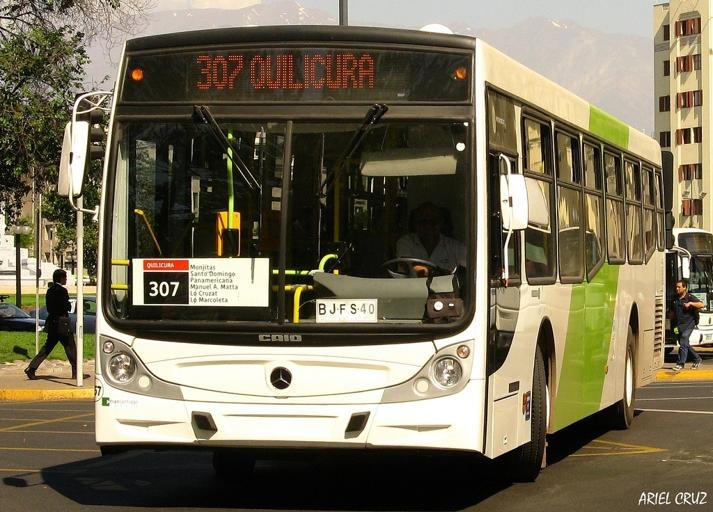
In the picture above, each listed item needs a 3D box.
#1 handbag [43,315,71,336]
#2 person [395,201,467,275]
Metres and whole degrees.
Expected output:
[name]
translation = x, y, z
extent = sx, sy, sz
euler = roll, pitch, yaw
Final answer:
[handbag]
translation = -6.386, 1.460, 17.744
extent = 0.451, 0.453, 0.363
euler = -4, -2, 4
[person]
translation = 0.549, -0.212, 6.661
extent = 0.745, 0.707, 0.445
euler = -1, 5, -12
